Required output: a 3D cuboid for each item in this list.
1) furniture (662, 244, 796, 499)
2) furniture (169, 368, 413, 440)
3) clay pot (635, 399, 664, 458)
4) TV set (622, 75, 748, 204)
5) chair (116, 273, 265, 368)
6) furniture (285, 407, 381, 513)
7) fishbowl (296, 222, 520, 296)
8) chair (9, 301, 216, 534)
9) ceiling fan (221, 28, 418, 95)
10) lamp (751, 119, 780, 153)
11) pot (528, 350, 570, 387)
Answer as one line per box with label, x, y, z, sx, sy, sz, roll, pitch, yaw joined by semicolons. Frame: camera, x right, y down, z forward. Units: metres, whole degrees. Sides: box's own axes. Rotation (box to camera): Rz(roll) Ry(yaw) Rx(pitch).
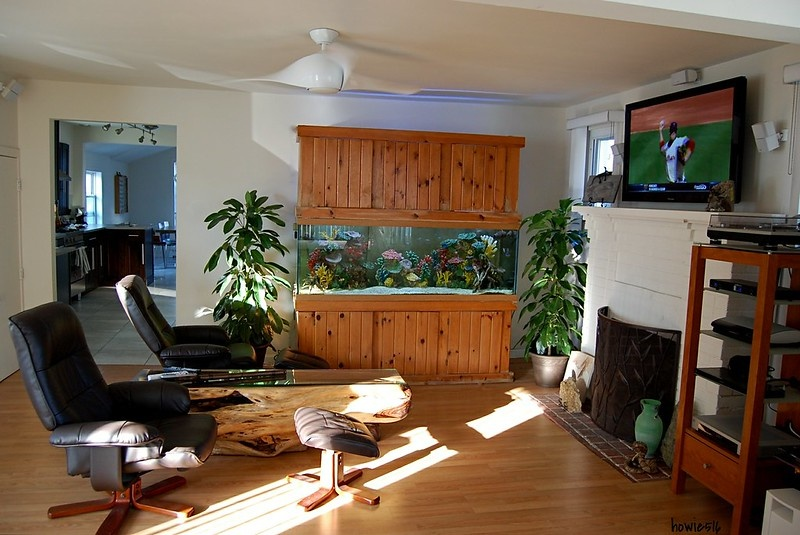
furniture;2.464;0.849;4.082;0.411;2.030;0.839;-1;14;-14
furniture;-0.827;1.170;4.990;1.754;0.373;0.513;3;9;-14
clay pot;2.206;1.416;4.782;0.231;0.472;0.291;8;15;22
TV set;2.603;-1.136;5.056;0.119;1.026;1.243;-7;10;-21
chair;-2.018;0.616;5.322;1.289;0.942;0.891;4;7;-18
furniture;-0.526;1.503;4.307;0.854;0.573;0.815;3;0;-45
fishbowl;0.205;-0.066;6.393;2.614;0.876;0.756;0;-2;27
chair;-2.368;0.950;4.568;1.724;1.897;1.551;0;7;-6
ceiling fan;-0.622;-1.669;4.341;0.663;0.499;0.990;9;15;28
lamp;3.043;-1.089;4.493;0.156;0.253;0.182;-8;17;-34
pot;1.708;1.170;6.210;0.400;0.270;0.397;1;0;0
